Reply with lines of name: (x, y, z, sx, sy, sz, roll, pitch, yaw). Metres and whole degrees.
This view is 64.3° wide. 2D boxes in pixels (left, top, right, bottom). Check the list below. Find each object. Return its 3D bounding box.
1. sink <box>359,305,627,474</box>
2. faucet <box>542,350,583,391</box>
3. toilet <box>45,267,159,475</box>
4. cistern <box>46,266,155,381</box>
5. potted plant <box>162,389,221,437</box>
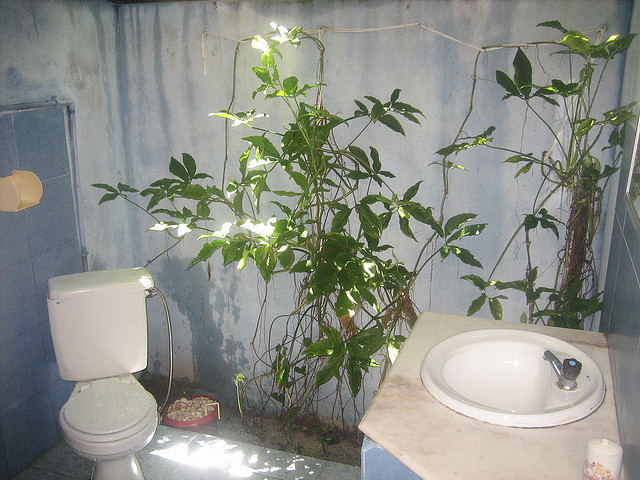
sink: (0.592, 0.481, 1.726, 0.827, 0.220, 0.760, 4, 18, 13)
faucet: (0.788, 0.432, 1.669, 0.050, 0.084, 0.194, -3, 3, 7)
toilet: (-1.073, 0.690, 2.655, 0.525, 0.891, 0.712, -8, 20, -23)
cistern: (-1.179, 0.450, 2.910, 0.588, 0.571, 0.378, -5, 20, -17)
potted plant: (-0.790, 1.059, 3.150, 0.235, 0.181, 0.240, 3, 6, -7)
